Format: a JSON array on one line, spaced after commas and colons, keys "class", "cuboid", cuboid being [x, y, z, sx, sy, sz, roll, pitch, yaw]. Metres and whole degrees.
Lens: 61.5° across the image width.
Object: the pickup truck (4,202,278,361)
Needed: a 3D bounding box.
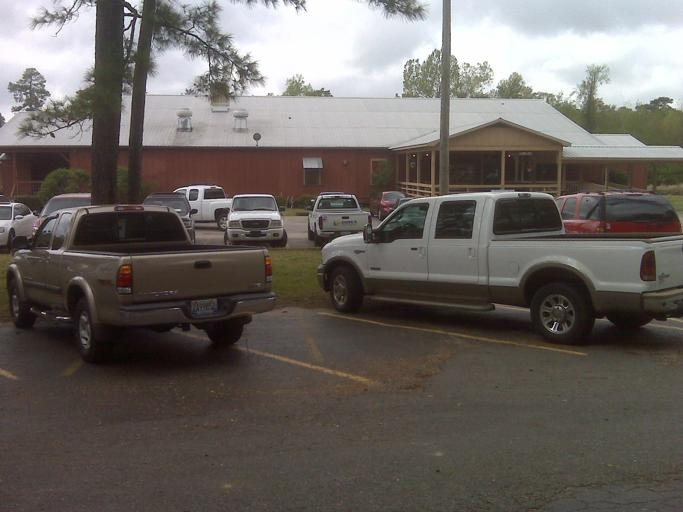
[{"class": "pickup truck", "cuboid": [-3.259, 0.179, 8.573, 1.960, 1.583, 3.991, -2, 10, -44]}]
